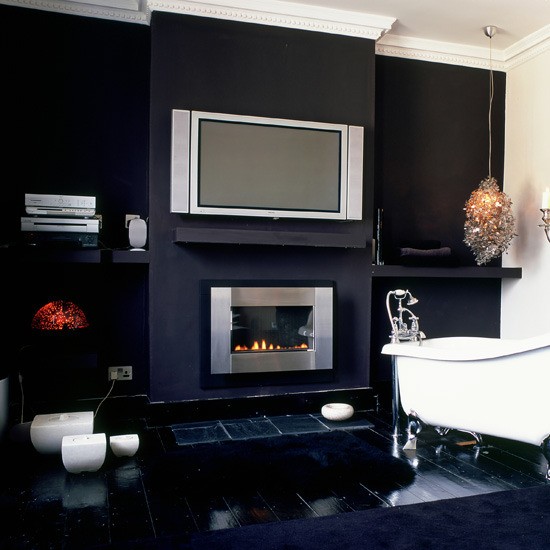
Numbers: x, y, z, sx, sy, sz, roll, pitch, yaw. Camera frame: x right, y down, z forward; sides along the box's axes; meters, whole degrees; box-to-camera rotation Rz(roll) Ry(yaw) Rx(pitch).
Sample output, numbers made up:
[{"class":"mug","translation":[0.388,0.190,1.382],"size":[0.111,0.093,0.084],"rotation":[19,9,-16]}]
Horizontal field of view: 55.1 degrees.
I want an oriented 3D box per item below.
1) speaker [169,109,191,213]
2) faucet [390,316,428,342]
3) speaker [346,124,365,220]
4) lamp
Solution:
[{"class":"speaker","translation":[-0.585,-0.723,3.360],"size":[0.069,0.631,0.116],"rotation":[-3,19,-14]},{"class":"faucet","translation":[0.883,0.367,3.456],"size":[0.167,0.236,0.345],"rotation":[-2,-5,34]},{"class":"speaker","translation":[0.561,-0.698,3.701],"size":[0.126,0.697,0.137],"rotation":[3,-11,-5]},{"class":"lamp","translation":[1.587,-0.938,3.937],"size":[0.362,1.820,0.364],"rotation":[-2,5,-8]}]
